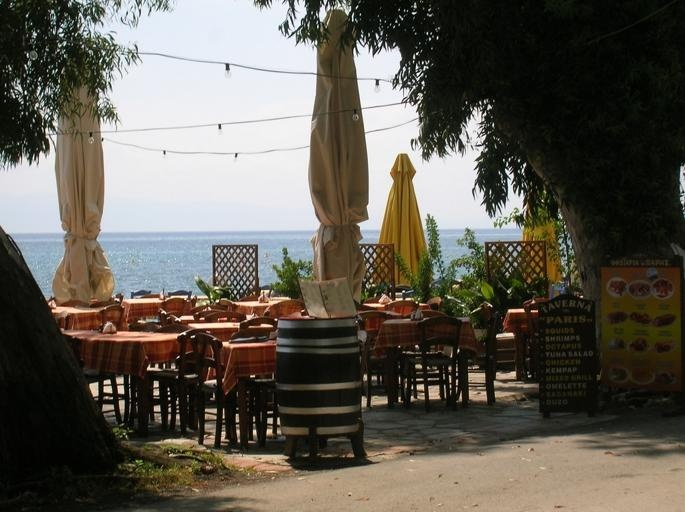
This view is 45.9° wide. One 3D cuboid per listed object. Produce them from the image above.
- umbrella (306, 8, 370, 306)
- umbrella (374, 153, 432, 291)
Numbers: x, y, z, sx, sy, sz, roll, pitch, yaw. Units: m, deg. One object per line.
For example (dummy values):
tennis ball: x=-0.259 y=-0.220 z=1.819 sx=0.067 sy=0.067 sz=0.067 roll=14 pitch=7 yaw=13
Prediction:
umbrella: x=-0.083 y=-1.540 z=12.069 sx=0.856 sy=4.261 sz=0.551 roll=-2 pitch=0 yaw=-3
umbrella: x=1.239 y=-0.752 z=16.594 sx=0.952 sy=2.774 sz=2.121 roll=-2 pitch=-1 yaw=4
